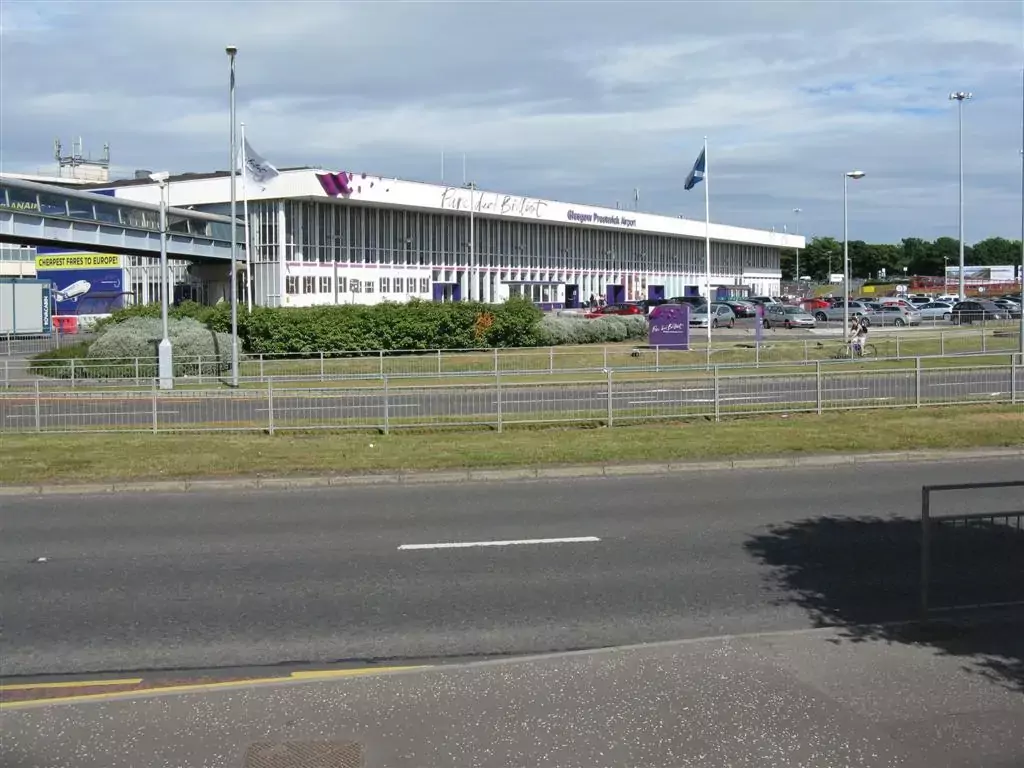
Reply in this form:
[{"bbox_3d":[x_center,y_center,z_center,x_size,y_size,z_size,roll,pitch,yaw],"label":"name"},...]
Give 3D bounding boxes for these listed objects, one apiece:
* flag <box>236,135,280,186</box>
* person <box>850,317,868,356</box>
[{"bbox_3d":[-9.127,-7.987,44.945,1.077,1.644,1.648,-2,9,-13],"label":"flag"},{"bbox_3d":[11.719,-1.603,42.755,0.563,1.187,1.572,3,9,14],"label":"person"}]
